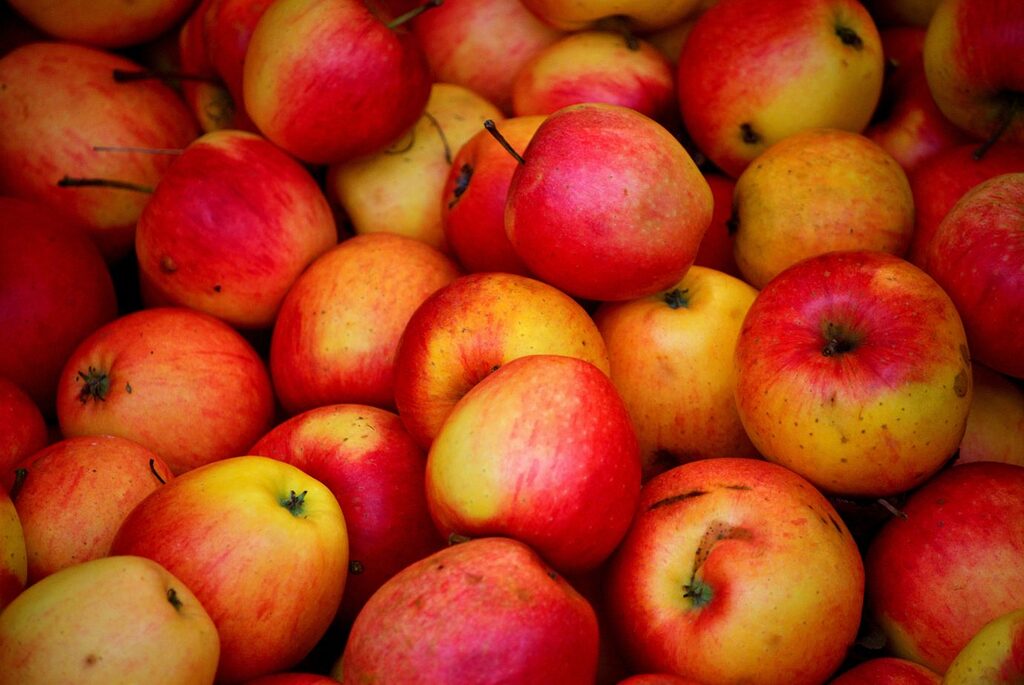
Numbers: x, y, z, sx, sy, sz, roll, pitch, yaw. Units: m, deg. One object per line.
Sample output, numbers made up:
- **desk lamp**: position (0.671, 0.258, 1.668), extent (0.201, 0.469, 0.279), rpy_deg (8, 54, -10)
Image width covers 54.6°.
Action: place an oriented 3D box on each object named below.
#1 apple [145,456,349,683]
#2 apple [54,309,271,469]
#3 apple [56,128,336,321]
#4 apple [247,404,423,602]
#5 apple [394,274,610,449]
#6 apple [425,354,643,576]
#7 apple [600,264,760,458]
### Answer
- **apple**: position (-0.495, 0.382, 2.005), extent (0.348, 0.406, 0.445), rpy_deg (-4, 8, 14)
- **apple**: position (-0.742, 0.106, 2.183), extent (0.396, 0.388, 0.361), rpy_deg (4, -21, -27)
- **apple**: position (-0.691, -0.212, 2.247), extent (0.422, 0.446, 0.417), rpy_deg (24, 14, -3)
- **apple**: position (-0.363, 0.329, 2.238), extent (0.357, 0.398, 0.359), rpy_deg (-9, -15, 1)
- **apple**: position (-0.056, -0.018, 2.108), extent (0.354, 0.394, 0.368), rpy_deg (-13, 2, -21)
- **apple**: position (0.078, 0.232, 2.058), extent (0.398, 0.414, 0.383), rpy_deg (-29, -9, 9)
- **apple**: position (0.345, 0.002, 2.322), extent (0.332, 0.445, 0.335), rpy_deg (-10, 11, -25)
